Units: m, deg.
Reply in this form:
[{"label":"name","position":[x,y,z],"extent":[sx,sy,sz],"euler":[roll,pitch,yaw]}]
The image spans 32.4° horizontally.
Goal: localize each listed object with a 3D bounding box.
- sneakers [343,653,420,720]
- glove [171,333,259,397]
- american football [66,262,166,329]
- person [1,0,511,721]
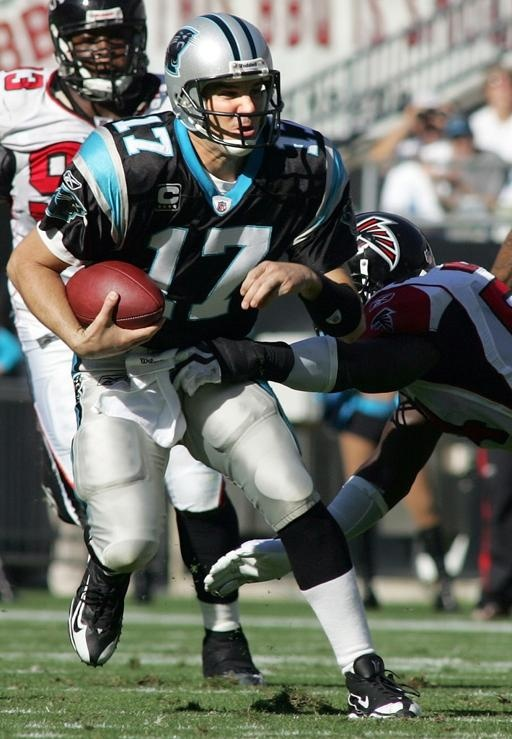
[{"label":"sneakers","position":[0.239,0.613,1.730],"extent":[0.085,0.084,0.194],"euler":[-1,-9,-23]},{"label":"glove","position":[-0.088,-0.009,1.840],"extent":[0.135,0.048,0.149],"euler":[-18,9,-42]},{"label":"american football","position":[-0.272,-0.148,1.772],"extent":[0.193,0.099,0.127],"euler":[3,16,30]},{"label":"person","position":[-0.127,0.001,1.924],"extent":[0.747,1.476,0.901],"euler":[-3,22,0]}]
